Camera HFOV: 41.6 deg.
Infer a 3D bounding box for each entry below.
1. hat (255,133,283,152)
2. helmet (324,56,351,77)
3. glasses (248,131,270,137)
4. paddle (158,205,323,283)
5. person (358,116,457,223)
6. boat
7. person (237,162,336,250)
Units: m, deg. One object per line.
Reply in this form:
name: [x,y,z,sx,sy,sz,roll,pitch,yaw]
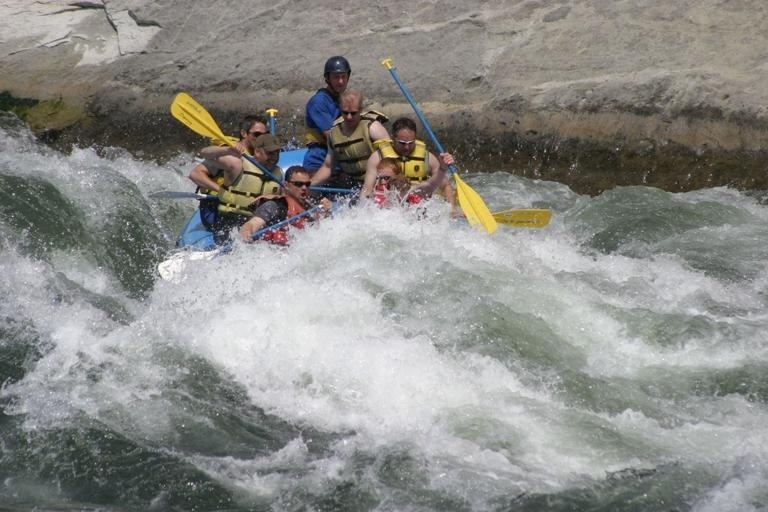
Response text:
hat: [-1.670,-1.637,14.546,0.335,0.231,0.159,2,98,36]
helmet: [-0.695,-2.894,15.311,0.352,0.385,0.305,-1,104,-4]
glasses: [-1.849,-1.815,14.912,0.157,0.165,0.057,-3,81,-15]
paddle: [-2.157,-0.226,14.296,2.234,0.385,0.550,-23,58,-2]
person: [0.245,-0.937,14.506,1.270,0.586,2.201,9,61,-3]
boat: [-0.951,-0.719,14.421,2.927,0.401,1.549,-9,47,1]
person: [-1.432,-0.681,14.365,1.080,0.474,1.220,15,64,-11]
